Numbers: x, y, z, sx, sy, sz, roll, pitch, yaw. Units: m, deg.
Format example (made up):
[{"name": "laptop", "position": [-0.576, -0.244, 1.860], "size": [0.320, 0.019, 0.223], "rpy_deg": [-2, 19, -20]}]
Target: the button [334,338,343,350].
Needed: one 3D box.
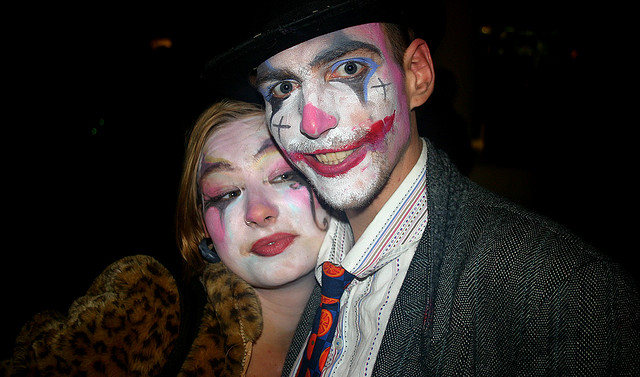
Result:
[{"name": "button", "position": [0.166, 1.352, 5.290], "size": [0.072, 0.075, 0.063], "rpy_deg": [-5, 28, 9]}]

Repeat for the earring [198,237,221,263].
[{"name": "earring", "position": [-1.057, 0.586, 5.738], "size": [0.197, 0.232, 0.076], "rpy_deg": [-40, 0, -17]}]
